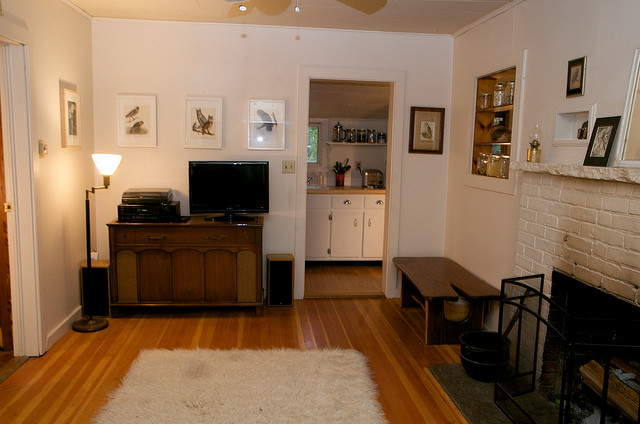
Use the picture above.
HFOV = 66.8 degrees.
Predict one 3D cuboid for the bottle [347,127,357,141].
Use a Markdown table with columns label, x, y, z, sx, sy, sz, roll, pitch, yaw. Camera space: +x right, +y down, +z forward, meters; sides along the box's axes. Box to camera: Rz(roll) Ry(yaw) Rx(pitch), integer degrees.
| label | x | y | z | sx | sy | sz | roll | pitch | yaw |
| --- | --- | --- | --- | --- | --- | --- | --- | --- | --- |
| bottle | 0.452 | -1.108 | 7.058 | 0.162 | 0.273 | 0.170 | 0 | 11 | 0 |

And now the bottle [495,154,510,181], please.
| label | x | y | z | sx | sy | sz | roll | pitch | yaw |
| --- | --- | --- | --- | --- | --- | --- | --- | --- | --- |
| bottle | 1.690 | -0.413 | 4.502 | 0.119 | 0.219 | 0.324 | 2 | 9 | 20 |

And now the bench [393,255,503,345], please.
| label | x | y | z | sx | sy | sz | roll | pitch | yaw |
| --- | --- | --- | --- | --- | --- | --- | --- | --- | --- |
| bench | 1.245 | 0.872 | 4.839 | 0.724 | 0.644 | 1.004 | -2 | 8 | -8 |

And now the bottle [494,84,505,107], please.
| label | x | y | z | sx | sy | sz | roll | pitch | yaw |
| --- | --- | --- | --- | --- | --- | --- | --- | --- | --- |
| bottle | 1.691 | -1.076 | 4.552 | 0.055 | 0.200 | 0.149 | -4 | 9 | -18 |

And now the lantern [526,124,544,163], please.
| label | x | y | z | sx | sy | sz | roll | pitch | yaw |
| --- | --- | --- | --- | --- | --- | --- | --- | --- | --- |
| lantern | 1.732 | -0.545 | 3.896 | 0.113 | 0.305 | 0.306 | 3 | 9 | 26 |

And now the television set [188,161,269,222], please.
| label | x | y | z | sx | sy | sz | roll | pitch | yaw |
| --- | --- | --- | --- | --- | --- | --- | --- | --- | --- |
| television set | -0.940 | -0.212 | 5.080 | 0.844 | 0.629 | 0.250 | 0 | 2 | 1 |

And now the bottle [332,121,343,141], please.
| label | x | y | z | sx | sy | sz | roll | pitch | yaw |
| --- | --- | --- | --- | --- | --- | --- | --- | --- | --- |
| bottle | 0.258 | -1.157 | 7.015 | 0.137 | 0.278 | 0.076 | -1 | 8 | 1 |

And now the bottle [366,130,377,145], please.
| label | x | y | z | sx | sy | sz | roll | pitch | yaw |
| --- | --- | --- | --- | --- | --- | --- | --- | --- | --- |
| bottle | 0.751 | -1.086 | 7.107 | 0.111 | 0.199 | 0.126 | 5 | 10 | 36 |
